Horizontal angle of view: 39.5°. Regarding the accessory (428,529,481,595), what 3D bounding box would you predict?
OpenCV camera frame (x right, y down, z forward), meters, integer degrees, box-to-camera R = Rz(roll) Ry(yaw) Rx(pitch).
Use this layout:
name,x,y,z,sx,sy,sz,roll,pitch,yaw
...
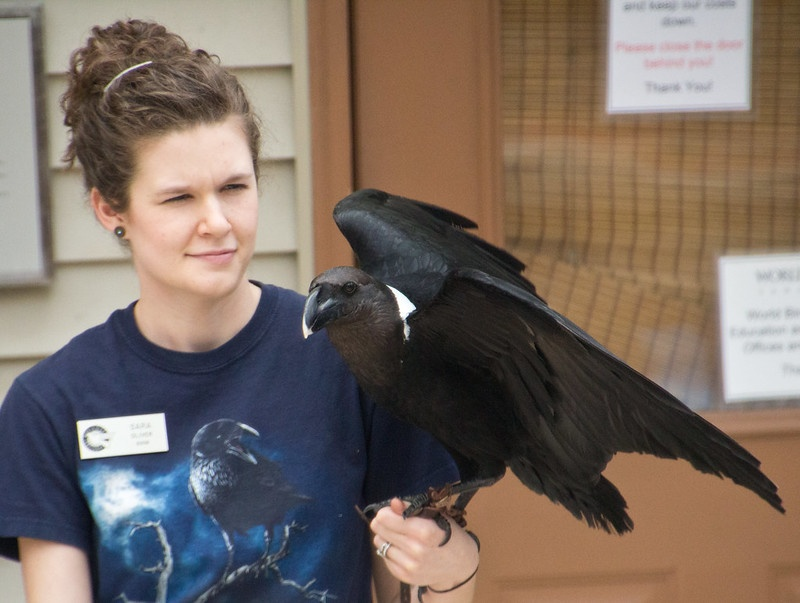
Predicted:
name,x,y,z,sx,sy,sz,roll,pitch,yaw
accessory,0.177,0.770,3.295,0.192,0.177,0.150,6,15,-17

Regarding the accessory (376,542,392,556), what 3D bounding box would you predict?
name,x,y,z,sx,sy,sz,roll,pitch,yaw
accessory,-0.050,0.710,3.179,0.020,0.038,0.053,13,-21,30

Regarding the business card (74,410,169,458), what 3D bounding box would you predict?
name,x,y,z,sx,sy,sz,roll,pitch,yaw
business card,-0.809,0.391,3.244,0.248,0.117,0.025,-5,3,-11

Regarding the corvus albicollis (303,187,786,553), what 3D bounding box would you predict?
name,x,y,z,sx,sy,sz,roll,pitch,yaw
corvus albicollis,0.343,0.174,3.242,1.194,0.989,0.546,-1,12,15
